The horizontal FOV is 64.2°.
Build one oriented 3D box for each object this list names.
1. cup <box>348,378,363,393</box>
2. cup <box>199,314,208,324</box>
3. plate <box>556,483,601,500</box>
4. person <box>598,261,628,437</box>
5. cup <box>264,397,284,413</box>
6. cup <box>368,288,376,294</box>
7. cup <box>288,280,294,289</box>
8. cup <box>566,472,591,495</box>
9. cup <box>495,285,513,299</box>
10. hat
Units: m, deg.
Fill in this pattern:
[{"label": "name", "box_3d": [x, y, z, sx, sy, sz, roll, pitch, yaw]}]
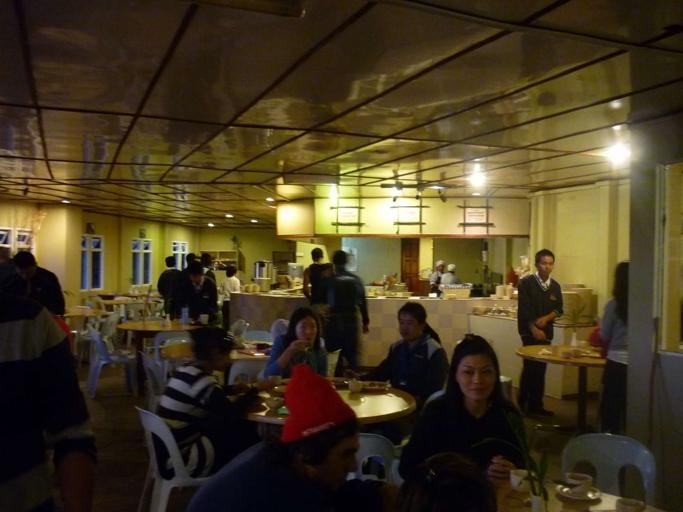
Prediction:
[{"label": "cup", "box_3d": [0.111, 1.024, 4.336, 0.108, 0.075, 0.100, 0, -1, 0]}, {"label": "cup", "box_3d": [-1.962, 0.893, 7.804, 0.130, 0.093, 0.105, -7, -9, 28]}, {"label": "plate", "box_3d": [1.183, 1.167, 2.715, 0.211, 0.058, 0.125, 0, 0, 19]}, {"label": "person", "box_3d": [2.568, 0.877, 5.141, 0.224, 1.659, 0.693, 0, 0, 25]}, {"label": "cup", "box_3d": [-0.472, 1.063, 3.886, 0.099, 0.052, 0.096, 1, -4, 0]}, {"label": "cup", "box_3d": [0.542, 0.634, 9.899, 0.153, 0.135, 0.106, 4, 7, -1]}, {"label": "cup", "box_3d": [-1.135, 0.622, 12.264, 0.172, 0.178, 0.166, 0, 3, 0]}, {"label": "cup", "box_3d": [1.197, 1.140, 2.744, 0.085, 0.058, 0.090, -1, -6, 0]}, {"label": "cup", "box_3d": [2.876, 0.630, 9.625, 0.232, 0.171, 0.081, 5, -9, -22]}, {"label": "hat", "box_3d": [-0.085, 0.505, 1.992, 0.286, 0.212, 0.246, -11, 6, 29]}]
